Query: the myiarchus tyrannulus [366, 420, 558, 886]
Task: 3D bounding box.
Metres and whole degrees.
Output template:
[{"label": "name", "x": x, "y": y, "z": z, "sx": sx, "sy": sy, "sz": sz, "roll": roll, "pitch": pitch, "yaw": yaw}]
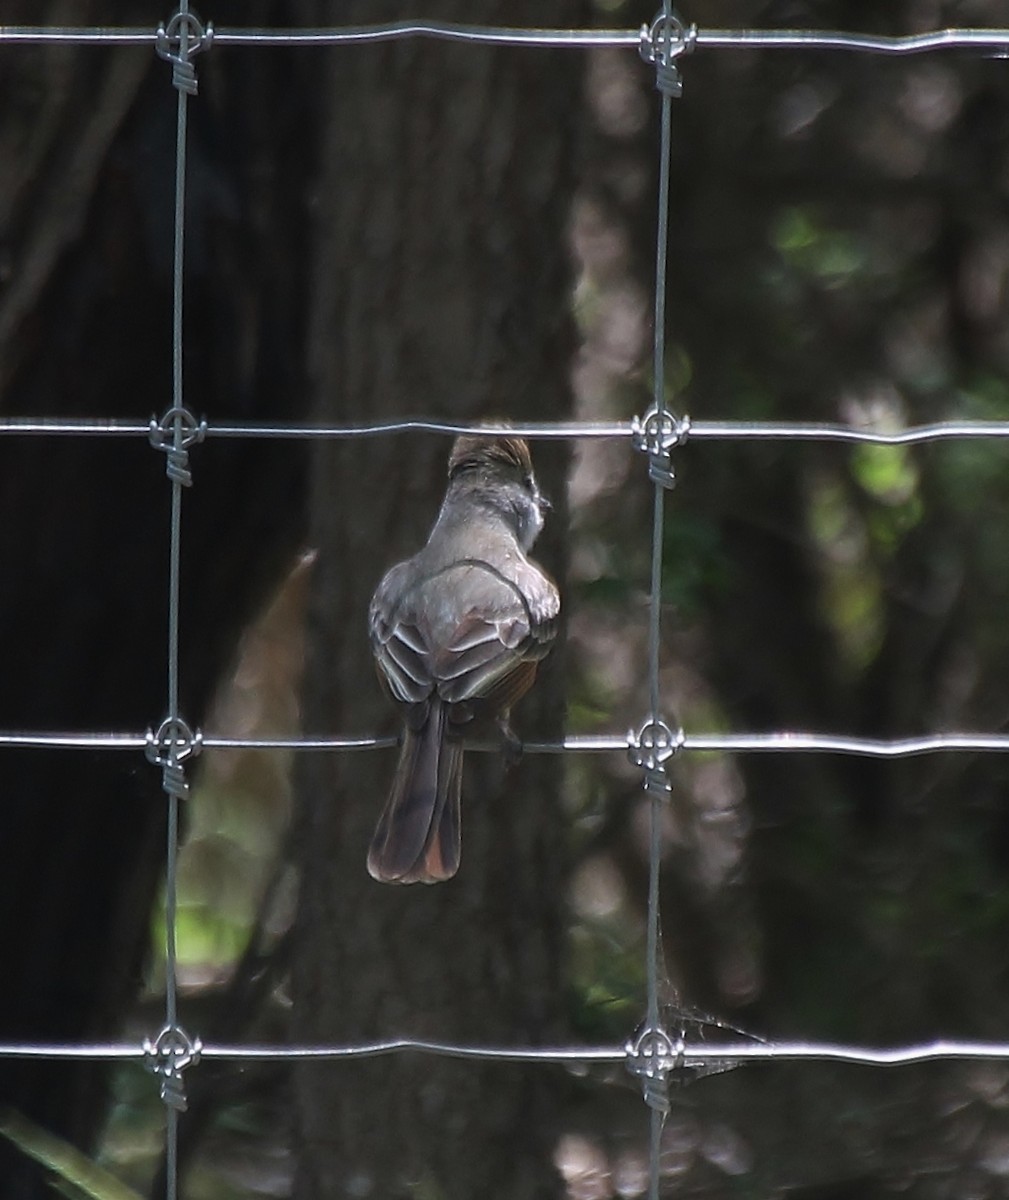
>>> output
[{"label": "myiarchus tyrannulus", "x": -0.076, "y": 0.069, "z": 4.312, "sx": 0.265, "sy": 0.495, "sz": 0.801, "roll": 2, "pitch": 26, "yaw": 13}]
